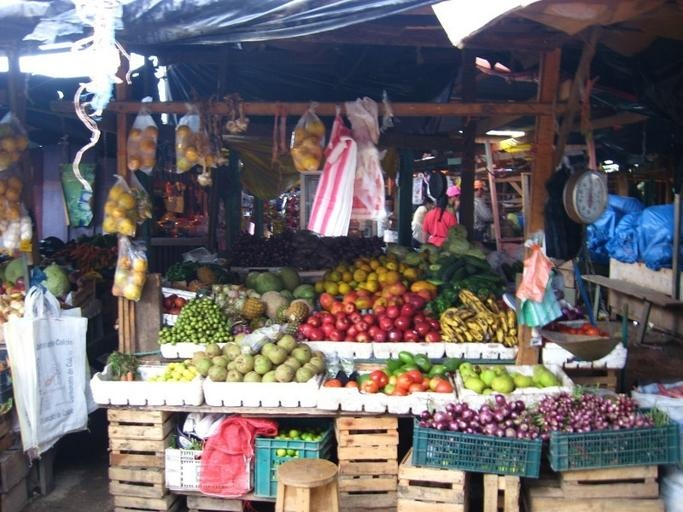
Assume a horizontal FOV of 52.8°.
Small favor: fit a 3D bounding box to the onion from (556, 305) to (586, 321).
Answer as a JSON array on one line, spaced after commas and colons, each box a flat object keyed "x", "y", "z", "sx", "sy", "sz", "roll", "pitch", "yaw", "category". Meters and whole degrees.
[{"x": 2.208, "y": 0.542, "z": 6.538, "sx": 0.159, "sy": 0.123, "sz": 0.438, "roll": 4, "pitch": 6, "yaw": 41, "category": "onion"}]

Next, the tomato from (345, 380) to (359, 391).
[{"x": 0.086, "y": 1.082, "z": 5.719, "sx": 0.062, "sy": 0.073, "sz": 0.060, "roll": -6, "pitch": 7, "yaw": 1, "category": "tomato"}]

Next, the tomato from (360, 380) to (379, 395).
[{"x": 0.237, "y": 1.083, "z": 5.696, "sx": 0.097, "sy": 0.061, "sz": 0.105, "roll": 2, "pitch": 12, "yaw": 8, "category": "tomato"}]

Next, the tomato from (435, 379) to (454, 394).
[{"x": 0.836, "y": 1.069, "z": 5.632, "sx": 0.136, "sy": 0.088, "sz": 0.168, "roll": 4, "pitch": 6, "yaw": 40, "category": "tomato"}]

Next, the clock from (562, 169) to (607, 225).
[{"x": 1.924, "y": -0.462, "z": 5.407, "sx": 0.364, "sy": 0.439, "sz": 0.189, "roll": -2, "pitch": 5, "yaw": -25, "category": "clock"}]

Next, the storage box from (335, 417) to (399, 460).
[{"x": 0.208, "y": 1.489, "z": 5.642, "sx": 0.497, "sy": 0.380, "sz": 0.134, "roll": 0, "pitch": 5, "yaw": 1, "category": "storage box"}]

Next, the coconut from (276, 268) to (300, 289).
[{"x": -0.542, "y": 0.230, "z": 7.205, "sx": 0.202, "sy": 0.254, "sz": 0.211, "roll": -14, "pitch": -22, "yaw": 5, "category": "coconut"}]

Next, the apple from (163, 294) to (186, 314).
[{"x": -1.577, "y": 0.461, "z": 6.514, "sx": 0.210, "sy": 0.165, "sz": 0.155, "roll": -1, "pitch": -10, "yaw": -11, "category": "apple"}]

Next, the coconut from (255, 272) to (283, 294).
[{"x": -0.747, "y": 0.272, "z": 7.058, "sx": 0.270, "sy": 0.207, "sz": 0.254, "roll": -1, "pitch": 5, "yaw": -8, "category": "coconut"}]

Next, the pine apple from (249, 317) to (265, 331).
[{"x": -0.787, "y": 0.632, "z": 6.421, "sx": 0.125, "sy": 0.097, "sz": 0.100, "roll": -12, "pitch": -16, "yaw": 13, "category": "pine apple"}]

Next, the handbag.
[{"x": -2.523, "y": 0.990, "z": 5.941, "sx": 0.214, "sy": 1.483, "sz": 0.646, "roll": 3, "pitch": 6, "yaw": 32, "category": "handbag"}]

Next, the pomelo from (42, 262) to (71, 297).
[{"x": -2.778, "y": 0.220, "z": 6.711, "sx": 0.261, "sy": 0.346, "sz": 0.261, "roll": -1, "pitch": 18, "yaw": -10, "category": "pomelo"}]

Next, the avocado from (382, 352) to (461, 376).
[{"x": 0.684, "y": 0.946, "z": 5.938, "sx": 0.461, "sy": 0.189, "sz": 0.272, "roll": -1, "pitch": -1, "yaw": -3, "category": "avocado"}]

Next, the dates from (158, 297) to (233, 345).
[{"x": -1.300, "y": 0.629, "z": 6.171, "sx": 0.593, "sy": 0.404, "sz": 0.487, "roll": -1, "pitch": 7, "yaw": -7, "category": "dates"}]

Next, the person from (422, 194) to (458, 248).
[{"x": 1.521, "y": -0.481, "z": 10.660, "sx": 0.556, "sy": 0.826, "sz": 0.330, "roll": 11, "pitch": 8, "yaw": 30, "category": "person"}]

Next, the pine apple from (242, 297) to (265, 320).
[{"x": -0.830, "y": 0.500, "z": 6.516, "sx": 0.200, "sy": 0.196, "sz": 0.182, "roll": 3, "pitch": 8, "yaw": -5, "category": "pine apple"}]

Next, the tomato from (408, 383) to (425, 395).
[{"x": 0.608, "y": 1.083, "z": 5.605, "sx": 0.085, "sy": 0.084, "sz": 0.079, "roll": -4, "pitch": 2, "yaw": 0, "category": "tomato"}]

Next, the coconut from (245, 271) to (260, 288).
[{"x": -0.929, "y": 0.247, "z": 7.187, "sx": 0.151, "sy": 0.153, "sz": 0.152, "roll": -1, "pitch": -17, "yaw": 2, "category": "coconut"}]

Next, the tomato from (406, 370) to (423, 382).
[{"x": 0.615, "y": 1.005, "z": 5.756, "sx": 0.094, "sy": 0.091, "sz": 0.101, "roll": -6, "pitch": 10, "yaw": -13, "category": "tomato"}]

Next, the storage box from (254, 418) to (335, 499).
[{"x": -0.398, "y": 1.687, "z": 5.763, "sx": 0.565, "sy": 0.349, "sz": 0.576, "roll": 0, "pitch": -1, "yaw": 6, "category": "storage box"}]

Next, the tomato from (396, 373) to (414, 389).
[{"x": 0.525, "y": 1.042, "z": 5.685, "sx": 0.122, "sy": 0.124, "sz": 0.115, "roll": -3, "pitch": 1, "yaw": 3, "category": "tomato"}]

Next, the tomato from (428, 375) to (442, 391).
[{"x": 0.773, "y": 1.048, "z": 5.686, "sx": 0.096, "sy": 0.099, "sz": 0.094, "roll": 4, "pitch": 8, "yaw": 19, "category": "tomato"}]
